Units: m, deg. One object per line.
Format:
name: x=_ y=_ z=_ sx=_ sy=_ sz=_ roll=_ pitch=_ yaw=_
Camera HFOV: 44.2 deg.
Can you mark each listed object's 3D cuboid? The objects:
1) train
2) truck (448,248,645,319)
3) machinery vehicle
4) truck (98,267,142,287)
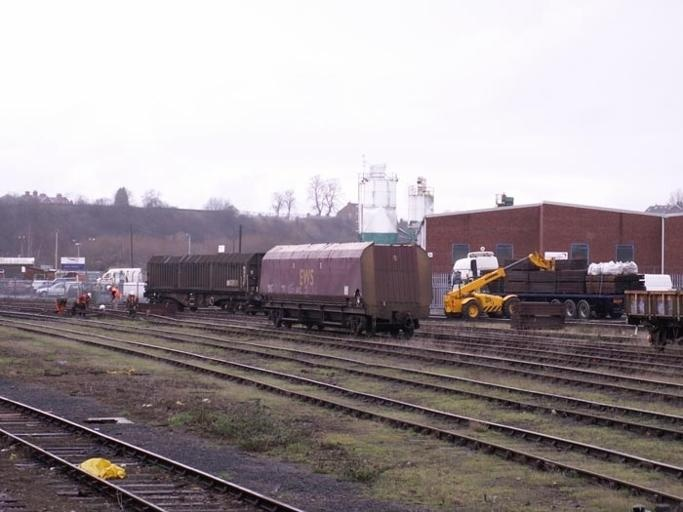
train: x=-4.127 y=1.467 z=45.938 sx=4.919 sy=5.423 sz=30.126 roll=0 pitch=-2 yaw=-37
truck: x=11.716 y=1.545 z=50.158 sx=5.663 sy=3.707 sz=10.627 roll=-4 pitch=1 yaw=-45
machinery vehicle: x=7.453 y=1.702 z=45.561 sx=9.126 sy=3.225 sz=2.651 roll=0 pitch=-1 yaw=15
truck: x=-17.333 y=1.818 z=66.023 sx=1.748 sy=1.589 sz=4.454 roll=1 pitch=2 yaw=-45
